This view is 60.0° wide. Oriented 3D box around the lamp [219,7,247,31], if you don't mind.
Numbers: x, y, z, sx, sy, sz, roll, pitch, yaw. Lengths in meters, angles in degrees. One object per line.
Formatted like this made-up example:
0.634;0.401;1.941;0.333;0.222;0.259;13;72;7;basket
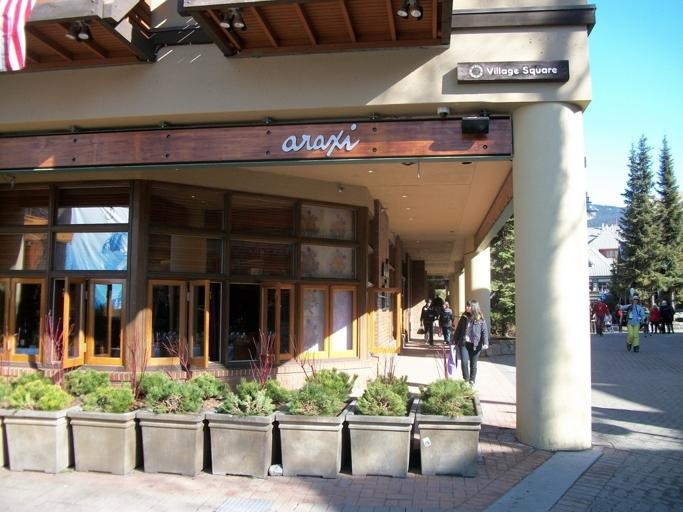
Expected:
-1.654;-3.609;9.109;0.229;0.197;0.389;2;-1;0;lamp

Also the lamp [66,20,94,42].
-4.200;-3.595;9.497;0.230;0.171;0.356;-1;2;-2;lamp

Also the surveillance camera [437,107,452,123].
1.680;-2.319;9.685;0.150;0.148;0.212;1;-6;2;surveillance camera

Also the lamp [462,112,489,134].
2.173;-2.095;9.490;0.447;0.323;0.252;1;-4;6;lamp
